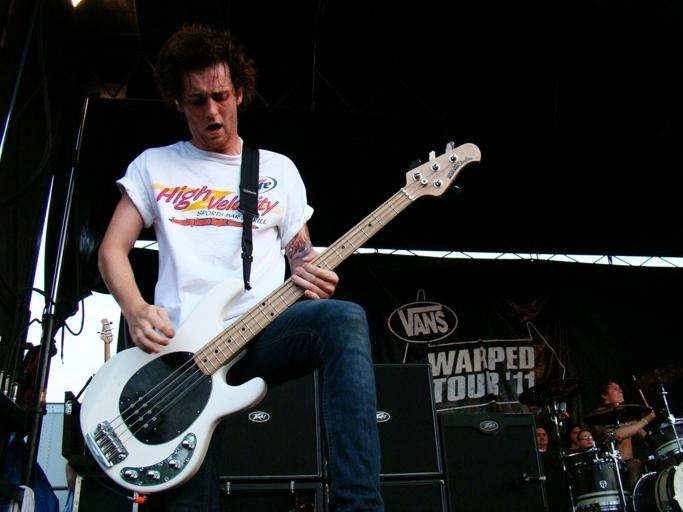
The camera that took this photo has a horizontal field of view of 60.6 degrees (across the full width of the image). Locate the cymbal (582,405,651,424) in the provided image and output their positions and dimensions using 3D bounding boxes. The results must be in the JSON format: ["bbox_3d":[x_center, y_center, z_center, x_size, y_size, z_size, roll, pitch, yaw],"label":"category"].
[{"bbox_3d":[3.274,1.920,6.980,0.718,0.276,0.949,-8,-15,21],"label":"cymbal"}]
